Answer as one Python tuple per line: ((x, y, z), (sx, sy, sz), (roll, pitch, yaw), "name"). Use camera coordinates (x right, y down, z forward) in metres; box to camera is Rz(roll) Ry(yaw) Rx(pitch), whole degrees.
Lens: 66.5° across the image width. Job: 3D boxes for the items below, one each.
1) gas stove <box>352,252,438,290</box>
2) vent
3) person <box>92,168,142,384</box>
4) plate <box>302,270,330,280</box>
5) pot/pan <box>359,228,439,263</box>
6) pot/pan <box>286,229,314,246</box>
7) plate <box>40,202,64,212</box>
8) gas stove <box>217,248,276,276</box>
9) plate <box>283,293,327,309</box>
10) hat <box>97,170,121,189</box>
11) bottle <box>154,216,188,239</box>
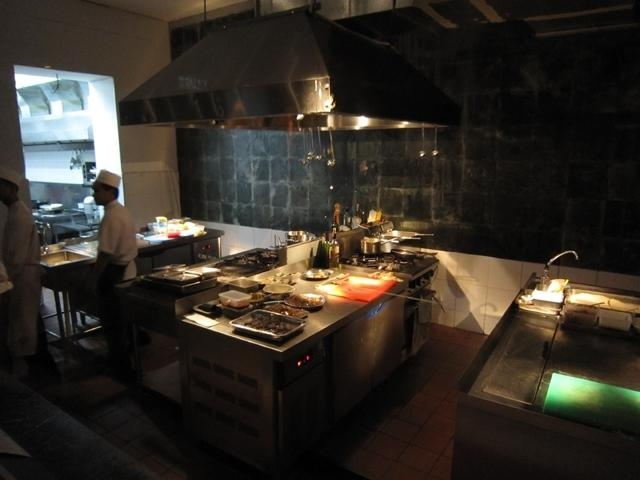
((0.740, 0.281, 4.740), (0.604, 0.309, 0.977), (4, 12, 27), "gas stove")
((-0.329, -1.360, 3.718), (1.927, 0.622, 1.831), (3, 21, 27), "vent")
((-1.941, 0.255, 4.627), (0.406, 1.821, 1.049), (-7, 12, -22), "person")
((-0.027, 0.299, 4.280), (0.232, 0.047, 0.255), (2, 12, 23), "plate")
((0.775, 0.033, 5.144), (0.680, 0.208, 0.380), (8, 15, 32), "pot/pan")
((-0.194, -0.033, 4.765), (0.238, 0.148, 0.139), (5, 9, 22), "pot/pan")
((-3.993, -0.496, 7.221), (0.324, 0.101, 0.239), (1, 6, -13), "plate")
((-0.625, 0.149, 4.422), (0.559, 0.131, 0.794), (-1, 11, 5), "gas stove")
((-0.114, 0.467, 3.688), (0.303, 0.064, 0.255), (-1, 11, 6), "plate")
((-2.051, -0.597, 4.743), (0.192, 0.140, 0.186), (-8, 24, -40), "hat")
((-1.785, -0.173, 5.784), (0.378, 0.217, 0.405), (-2, 11, 0), "bottle")
